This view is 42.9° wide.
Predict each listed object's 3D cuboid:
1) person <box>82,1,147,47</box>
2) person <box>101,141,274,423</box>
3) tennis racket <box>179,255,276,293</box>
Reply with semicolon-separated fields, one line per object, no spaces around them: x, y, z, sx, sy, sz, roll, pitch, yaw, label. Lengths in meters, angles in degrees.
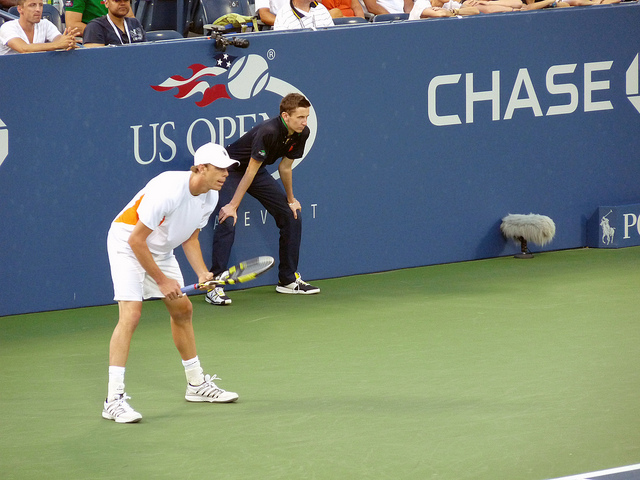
-2.164;-2.231;8.505;0.705;0.404;0.442;-5;2;-32;person
-1.178;0.290;6.192;1.162;1.537;1.593;-5;2;-22;person
-0.874;0.296;7.284;0.850;0.048;0.216;-18;41;-20;tennis racket
